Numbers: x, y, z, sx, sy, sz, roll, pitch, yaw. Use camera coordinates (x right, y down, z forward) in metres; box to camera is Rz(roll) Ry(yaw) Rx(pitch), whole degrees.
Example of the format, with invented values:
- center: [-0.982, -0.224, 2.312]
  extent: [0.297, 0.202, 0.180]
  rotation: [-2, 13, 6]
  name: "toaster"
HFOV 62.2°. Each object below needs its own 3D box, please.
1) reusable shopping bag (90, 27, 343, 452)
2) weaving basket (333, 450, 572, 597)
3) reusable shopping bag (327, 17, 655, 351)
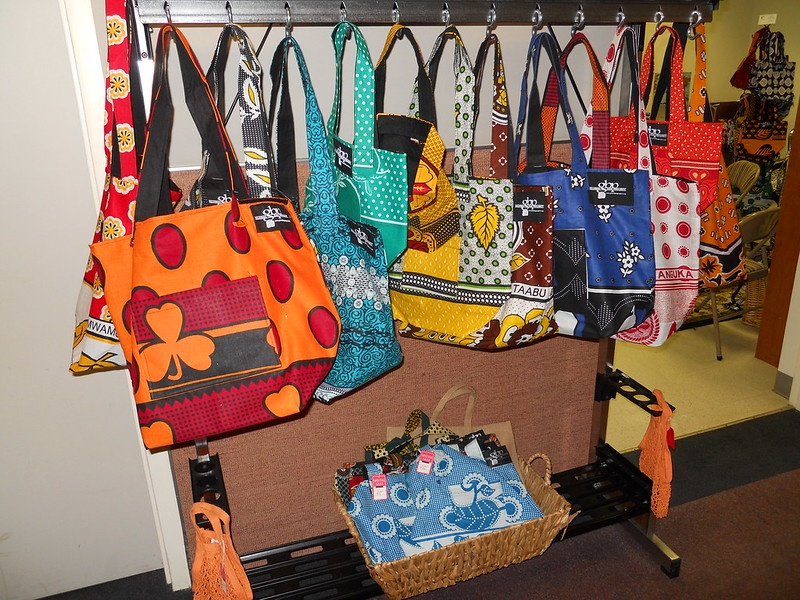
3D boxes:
- center: [-0.453, -0.060, 1.616]
  extent: [0.529, 1.122, 0.423]
  rotation: [-10, 21, -20]
  name: "reusable shopping bag"
- center: [0.183, 0.709, 1.966]
  extent: [0.564, 0.229, 0.451]
  rotation: [-13, 21, -13]
  name: "weaving basket"
- center: [0.228, -0.293, 1.762]
  extent: [0.756, 0.790, 0.313]
  rotation: [8, 29, 25]
  name: "reusable shopping bag"
